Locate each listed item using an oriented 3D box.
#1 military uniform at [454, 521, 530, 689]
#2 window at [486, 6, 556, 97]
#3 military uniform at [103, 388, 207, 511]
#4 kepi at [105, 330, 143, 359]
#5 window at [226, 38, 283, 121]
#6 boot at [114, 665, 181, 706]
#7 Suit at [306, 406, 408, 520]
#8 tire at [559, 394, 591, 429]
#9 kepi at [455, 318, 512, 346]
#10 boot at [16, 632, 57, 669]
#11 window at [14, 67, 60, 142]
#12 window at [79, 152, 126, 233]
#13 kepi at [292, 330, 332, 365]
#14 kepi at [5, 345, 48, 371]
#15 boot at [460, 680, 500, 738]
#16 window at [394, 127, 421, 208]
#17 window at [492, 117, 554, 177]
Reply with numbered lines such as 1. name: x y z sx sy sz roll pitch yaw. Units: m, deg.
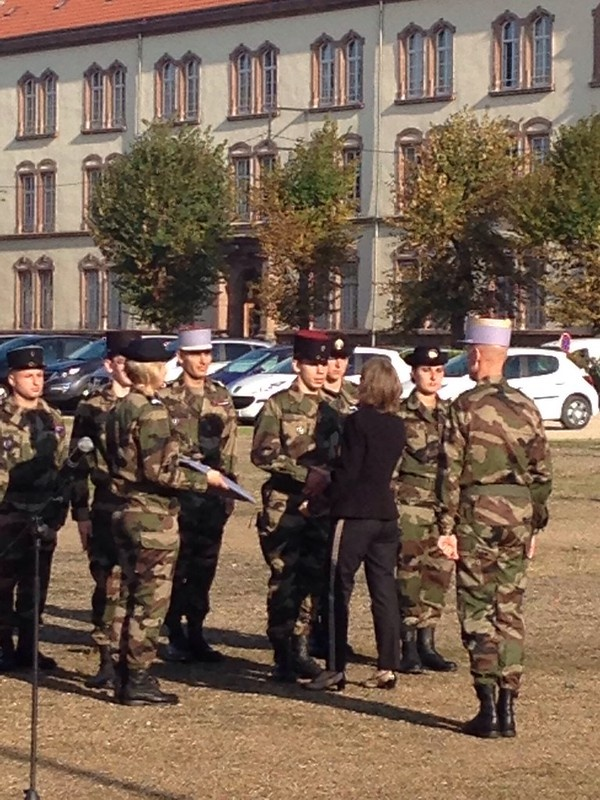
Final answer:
1. military uniform: 0.988 1.057 7.780 0.377 0.850 0.334 -1 1 5
2. window: 6.399 -10.003 44.115 1.778 2.357 0.379 0 1 31
3. military uniform: -0.808 0.275 8.136 0.555 0.654 0.295 0 2 42
4. kepi: -1.027 -0.328 8.839 0.183 0.164 0.192 2 5 2
5. window: -1.537 -10.237 49.187 0.576 2.294 2.049 -2 2 -41
6. boot: -0.849 1.516 8.137 0.443 0.237 0.147 -1 1 -7
7. Suit: 0.358 0.335 8.232 0.416 0.623 0.231 -1 1 3
8. tire: 4.333 0.140 24.161 0.618 0.526 0.176 -4 2 -22
9. kepi: 0.950 -0.357 7.839 0.197 0.116 0.182 1 4 11
10. boot: -1.562 1.483 8.944 0.327 0.194 0.109 0 5 -6
11. window: -9.430 -10.753 55.144 3.123 3.183 0.171 -1 -5 44
12. window: -6.971 -7.541 54.140 1.557 2.472 0.273 -4 42 -13
13. kepi: 0.082 -0.307 8.759 0.203 0.141 0.211 -1 6 -25
14. kepi: -1.569 -0.238 8.755 0.193 0.143 0.304 -1 1 -11
15. boot: 0.926 1.552 7.759 0.159 0.253 0.287 -5 0 -16
16. window: 3.350 -6.491 45.029 1.057 3.070 0.307 -5 -32 14
17. window: 6.609 -7.348 44.577 1.829 1.695 0.157 -1 25 27
